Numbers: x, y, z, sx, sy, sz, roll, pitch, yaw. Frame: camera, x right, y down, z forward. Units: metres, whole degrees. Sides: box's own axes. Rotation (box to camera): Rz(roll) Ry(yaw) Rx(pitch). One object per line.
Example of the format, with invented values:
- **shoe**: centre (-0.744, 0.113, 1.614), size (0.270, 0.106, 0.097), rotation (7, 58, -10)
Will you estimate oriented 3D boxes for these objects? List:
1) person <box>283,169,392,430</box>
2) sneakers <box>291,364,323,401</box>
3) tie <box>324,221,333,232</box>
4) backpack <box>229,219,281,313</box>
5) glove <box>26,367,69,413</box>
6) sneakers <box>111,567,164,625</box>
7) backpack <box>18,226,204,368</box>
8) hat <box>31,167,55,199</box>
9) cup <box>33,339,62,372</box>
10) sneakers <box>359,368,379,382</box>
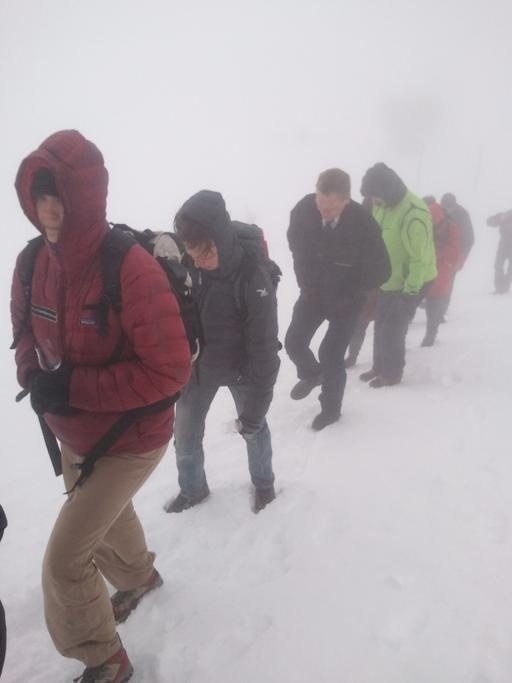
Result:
- **person**: centre (0.523, -0.232, 4.719), size (0.463, 1.665, 0.878), rotation (-13, 9, -40)
- **sneakers**: centre (0.405, 0.323, 5.202), size (0.104, 0.275, 0.183), rotation (41, 3, 25)
- **tie**: centre (0.486, -0.801, 4.506), size (0.020, 0.067, 0.085), rotation (-12, 9, -38)
- **backpack**: centre (0.011, -0.457, 3.602), size (0.215, 0.448, 0.674), rotation (-6, 8, 3)
- **glove**: centre (-0.731, 0.165, 2.293), size (0.157, 0.148, 0.130), rotation (1, 11, 45)
- **sneakers**: centre (-0.573, 1.209, 3.103), size (0.092, 0.150, 0.288), rotation (-7, 1, 28)
- **backpack**: centre (-0.550, -0.266, 2.567), size (0.590, 0.698, 0.478), rotation (4, 22, -8)
- **hat**: centre (-0.714, -0.535, 2.212), size (0.073, 0.101, 0.077), rotation (2, -17, -8)
- **cup**: centre (-0.760, 0.060, 2.399), size (0.080, 0.139, 0.036), rotation (-4, -31, -32)
- **sneakers**: centre (1.003, 0.304, 5.932), size (0.184, 0.080, 0.129), rotation (-11, -15, -23)
